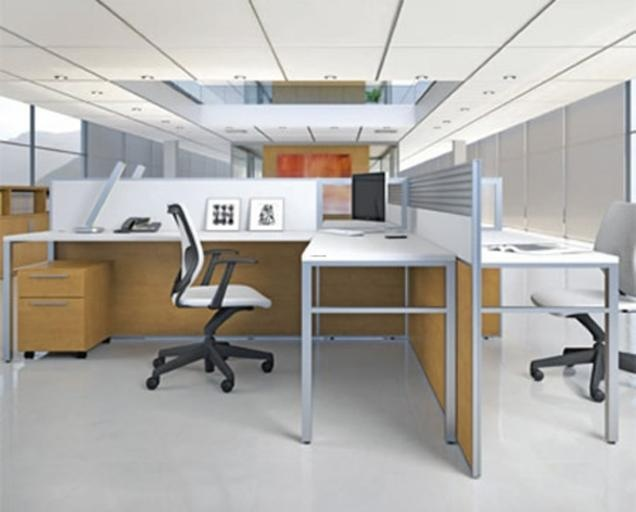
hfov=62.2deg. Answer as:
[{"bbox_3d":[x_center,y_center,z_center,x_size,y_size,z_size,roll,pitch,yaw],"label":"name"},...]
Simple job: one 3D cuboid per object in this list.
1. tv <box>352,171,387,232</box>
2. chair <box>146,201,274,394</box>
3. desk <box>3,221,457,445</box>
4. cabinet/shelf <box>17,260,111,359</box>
[{"bbox_3d":[0.440,-0.511,4.732,0.108,0.477,0.434,-1,1,-26],"label":"tv"},{"bbox_3d":[-0.738,0.261,4.234,1.136,1.501,1.233,0,2,-5],"label":"chair"},{"bbox_3d":[-0.739,0.274,4.021,3.625,1.006,1.987,3,12,18],"label":"desk"},{"bbox_3d":[-2.082,0.394,4.422,0.610,0.886,1.211,1,0,-2],"label":"cabinet/shelf"}]
